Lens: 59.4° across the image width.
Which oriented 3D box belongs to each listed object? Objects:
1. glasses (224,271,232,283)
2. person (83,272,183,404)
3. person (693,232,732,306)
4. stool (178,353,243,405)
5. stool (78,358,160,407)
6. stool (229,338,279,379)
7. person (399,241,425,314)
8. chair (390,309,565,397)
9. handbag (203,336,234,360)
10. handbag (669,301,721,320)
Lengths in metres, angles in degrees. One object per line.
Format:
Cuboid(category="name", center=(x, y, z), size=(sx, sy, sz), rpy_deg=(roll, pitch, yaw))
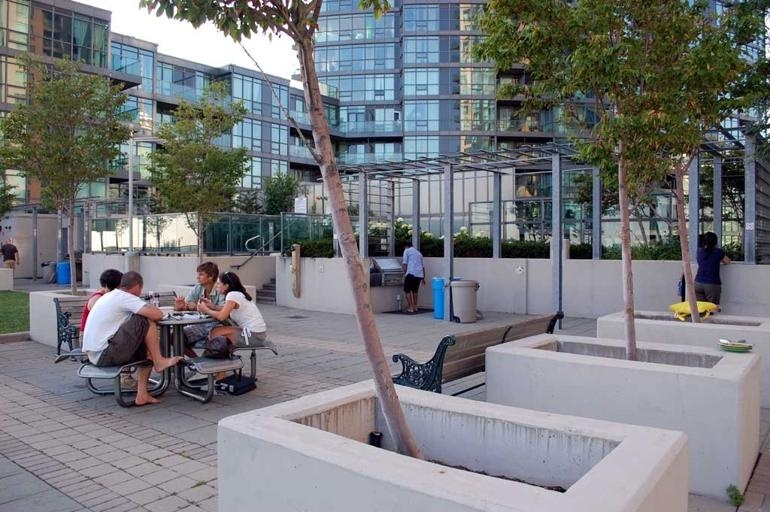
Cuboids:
Cuboid(category="glasses", center=(-2.584, 0.366, 11.041), size=(0.123, 0.162, 0.152), rpy_deg=(9, 31, -19))
Cuboid(category="person", center=(-3.935, 1.316, 10.466), size=(1.450, 2.027, 0.977), rpy_deg=(-2, -11, -32))
Cuboid(category="person", center=(6.900, 0.276, 14.442), size=(0.622, 1.540, 1.147), rpy_deg=(-1, 2, 42))
Cuboid(category="stool", center=(-2.924, 1.865, 10.602), size=(0.707, 0.558, 0.883), rpy_deg=(0, -1, 25))
Cuboid(category="stool", center=(-4.070, 1.889, 10.461), size=(1.037, 0.523, 0.994), rpy_deg=(-2, 5, 40))
Cuboid(category="stool", center=(-2.186, 1.793, 11.258), size=(0.717, 0.575, 0.688), rpy_deg=(0, -7, -8))
Cuboid(category="person", center=(0.819, 0.693, 20.009), size=(0.606, 1.923, 1.352), rpy_deg=(-2, 1, 2))
Cuboid(category="chair", center=(1.321, 1.457, 9.609), size=(2.597, 0.853, 0.747), rpy_deg=(-3, 1, -43))
Cuboid(category="handbag", center=(-2.686, 1.476, 10.870), size=(0.428, 0.337, 0.320), rpy_deg=(-5, -2, 14))
Cuboid(category="handbag", center=(5.477, 0.982, 12.235), size=(0.609, 0.222, 0.496), rpy_deg=(0, -2, -13))
